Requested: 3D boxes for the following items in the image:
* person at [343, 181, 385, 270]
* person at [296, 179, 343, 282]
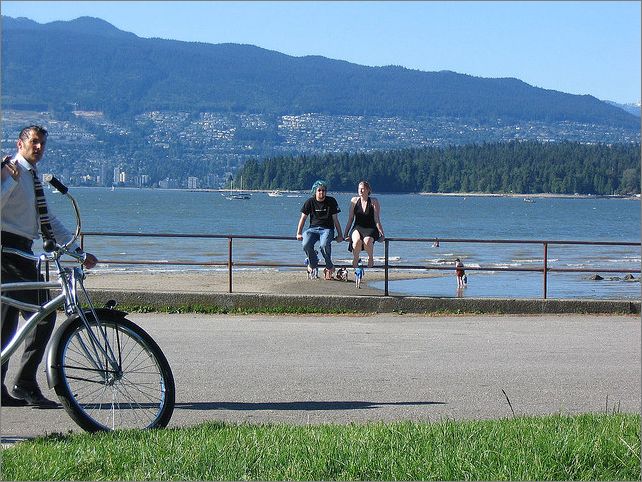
[{"bbox_3d":[0.718,-0.297,23.310,0.655,1.457,1.598,1,4,1],"label":"person"},{"bbox_3d":[-0.016,-0.233,23.609,0.720,1.596,0.751,1,4,5],"label":"person"}]
